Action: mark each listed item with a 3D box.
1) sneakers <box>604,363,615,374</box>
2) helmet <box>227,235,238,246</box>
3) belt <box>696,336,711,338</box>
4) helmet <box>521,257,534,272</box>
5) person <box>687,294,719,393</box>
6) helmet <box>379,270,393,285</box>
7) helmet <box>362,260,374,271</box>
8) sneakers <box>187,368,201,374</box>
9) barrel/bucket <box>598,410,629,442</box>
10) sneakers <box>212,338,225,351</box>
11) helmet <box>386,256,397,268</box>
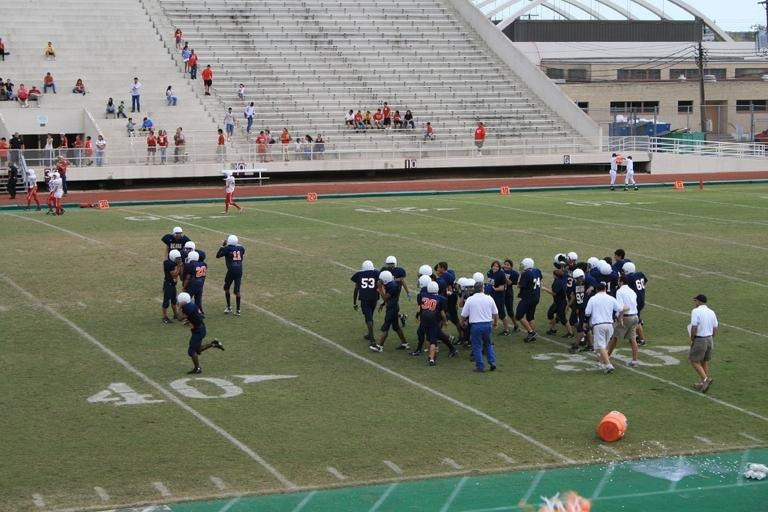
[{"bbox_3d":[5.312,2.711,27.362,0.138,0.194,0.319,-3,11,-1],"label":"sneakers"},{"bbox_3d":[-4.278,-0.419,31.866,0.302,0.224,0.223,30,33,28],"label":"helmet"},{"bbox_3d":[7.214,1.851,26.128,0.388,0.059,0.095,0,6,-1],"label":"belt"},{"bbox_3d":[3.632,0.227,29.341,0.292,0.243,0.339,-2,12,-27],"label":"helmet"},{"bbox_3d":[7.241,2.035,26.327,0.585,2.299,0.662,1,6,13],"label":"person"},{"bbox_3d":[-0.005,0.521,28.227,0.407,0.278,0.269,-9,38,3],"label":"helmet"},{"bbox_3d":[-0.468,0.267,28.705,0.261,0.231,0.279,2,11,1],"label":"helmet"},{"bbox_3d":[-4.587,2.754,27.255,0.385,0.129,0.115,1,8,6],"label":"sneakers"},{"bbox_3d":[4.858,3.703,24.728,0.619,0.581,0.467,1,6,10],"label":"barrel/bucket"},{"bbox_3d":[-3.984,2.152,27.345,0.226,0.170,0.487,39,-17,16],"label":"sneakers"},{"bbox_3d":[0.101,0.142,28.946,0.253,0.216,0.284,5,13,9],"label":"helmet"}]
